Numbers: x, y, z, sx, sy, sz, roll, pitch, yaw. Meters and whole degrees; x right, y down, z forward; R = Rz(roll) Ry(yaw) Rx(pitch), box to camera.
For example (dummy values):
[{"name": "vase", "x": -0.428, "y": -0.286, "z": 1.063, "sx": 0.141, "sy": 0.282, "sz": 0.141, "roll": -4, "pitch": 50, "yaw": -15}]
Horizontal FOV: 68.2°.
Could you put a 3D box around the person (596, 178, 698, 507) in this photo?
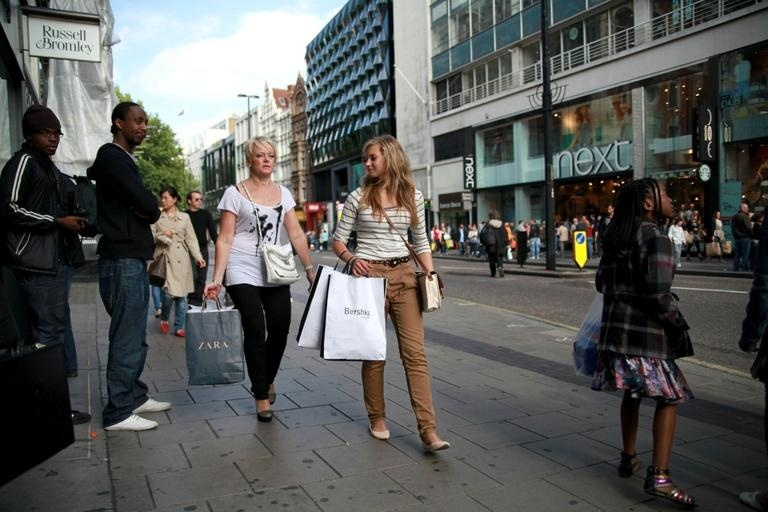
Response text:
[{"name": "person", "x": 1.891, "y": 0.583, "z": 4.130, "sx": 0.680, "sy": 2.296, "sz": 0.529, "roll": 2, "pitch": 4, "yaw": 26}]

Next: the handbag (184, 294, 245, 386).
[{"name": "handbag", "x": -1.602, "y": 0.854, "z": 5.383, "sx": 0.540, "sy": 0.781, "sz": 0.270, "roll": -1, "pitch": 4, "yaw": -14}]

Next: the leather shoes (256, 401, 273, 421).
[{"name": "leather shoes", "x": -1.128, "y": 1.442, "z": 5.296, "sx": 0.190, "sy": 0.172, "sz": 0.166, "roll": 1, "pitch": 5, "yaw": 10}]

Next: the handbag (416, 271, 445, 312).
[{"name": "handbag", "x": 0.351, "y": 0.348, "z": 4.968, "sx": 0.175, "sy": 0.392, "sz": 0.387, "roll": -2, "pitch": -2, "yaw": -21}]

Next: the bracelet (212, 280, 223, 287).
[{"name": "bracelet", "x": -1.534, "y": 0.255, "z": 5.241, "sx": 0.075, "sy": 0.078, "sz": 0.142, "roll": -2, "pitch": 5, "yaw": -18}]

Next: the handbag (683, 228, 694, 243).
[{"name": "handbag", "x": 11.680, "y": -0.739, "z": 21.756, "sx": 0.516, "sy": 0.608, "sz": 0.223, "roll": 1, "pitch": 3, "yaw": -31}]

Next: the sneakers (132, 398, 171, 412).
[{"name": "sneakers", "x": -2.225, "y": 1.468, "z": 5.451, "sx": 0.317, "sy": 0.135, "sz": 0.126, "roll": -2, "pitch": 7, "yaw": -24}]

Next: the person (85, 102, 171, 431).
[{"name": "person", "x": -2.309, "y": 0.084, "z": 5.100, "sx": 0.599, "sy": 2.928, "sz": 0.426, "roll": -1, "pitch": 4, "yaw": -11}]

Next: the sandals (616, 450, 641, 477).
[{"name": "sandals", "x": 1.834, "y": 1.588, "z": 4.271, "sx": 0.089, "sy": 0.199, "sz": 0.256, "roll": 3, "pitch": 9, "yaw": 34}]

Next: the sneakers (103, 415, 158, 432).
[{"name": "sneakers", "x": -2.236, "y": 1.494, "z": 5.024, "sx": 0.408, "sy": 0.148, "sz": 0.163, "roll": -1, "pitch": 0, "yaw": -8}]

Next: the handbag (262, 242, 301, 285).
[{"name": "handbag", "x": -0.970, "y": 0.087, "z": 5.372, "sx": 0.193, "sy": 0.469, "sz": 0.393, "roll": -22, "pitch": -16, "yaw": 37}]

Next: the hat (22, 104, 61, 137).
[{"name": "hat", "x": -3.171, "y": -1.250, "z": 5.234, "sx": 0.263, "sy": 0.337, "sz": 0.362, "roll": -20, "pitch": 7, "yaw": -28}]

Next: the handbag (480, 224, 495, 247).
[{"name": "handbag", "x": 3.347, "y": -0.622, "z": 18.303, "sx": 0.416, "sy": 0.822, "sz": 0.589, "roll": 0, "pitch": 4, "yaw": 9}]

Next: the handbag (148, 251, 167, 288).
[{"name": "handbag", "x": -3.263, "y": 0.163, "z": 8.377, "sx": 0.168, "sy": 0.495, "sz": 0.512, "roll": -10, "pitch": 1, "yaw": -18}]
